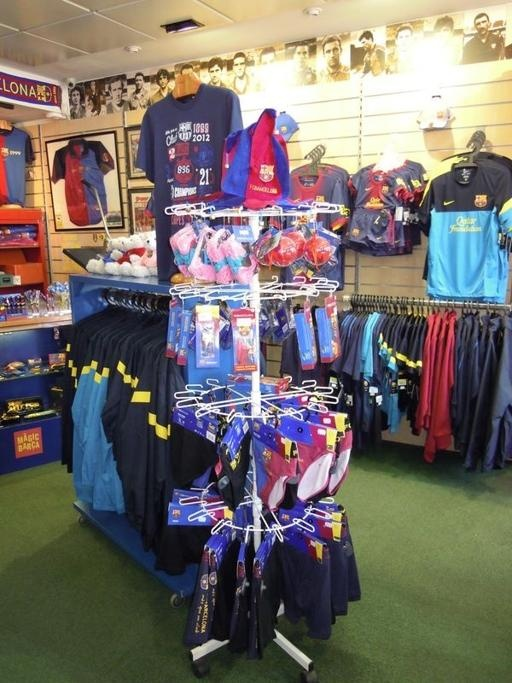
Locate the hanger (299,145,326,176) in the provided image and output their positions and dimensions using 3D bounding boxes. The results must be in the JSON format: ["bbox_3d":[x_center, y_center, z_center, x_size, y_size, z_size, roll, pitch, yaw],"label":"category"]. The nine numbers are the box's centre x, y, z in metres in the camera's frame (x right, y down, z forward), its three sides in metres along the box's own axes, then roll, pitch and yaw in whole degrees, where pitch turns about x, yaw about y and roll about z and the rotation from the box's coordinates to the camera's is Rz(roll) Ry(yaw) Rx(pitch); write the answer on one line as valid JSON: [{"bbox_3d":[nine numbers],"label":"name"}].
[{"bbox_3d":[0.463,-1.405,3.699,0.230,0.273,0.192,-4,10,-19],"label":"hanger"}]

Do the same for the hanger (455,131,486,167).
[{"bbox_3d":[1.454,-1.299,3.150,0.153,0.263,0.311,3,6,36],"label":"hanger"}]
